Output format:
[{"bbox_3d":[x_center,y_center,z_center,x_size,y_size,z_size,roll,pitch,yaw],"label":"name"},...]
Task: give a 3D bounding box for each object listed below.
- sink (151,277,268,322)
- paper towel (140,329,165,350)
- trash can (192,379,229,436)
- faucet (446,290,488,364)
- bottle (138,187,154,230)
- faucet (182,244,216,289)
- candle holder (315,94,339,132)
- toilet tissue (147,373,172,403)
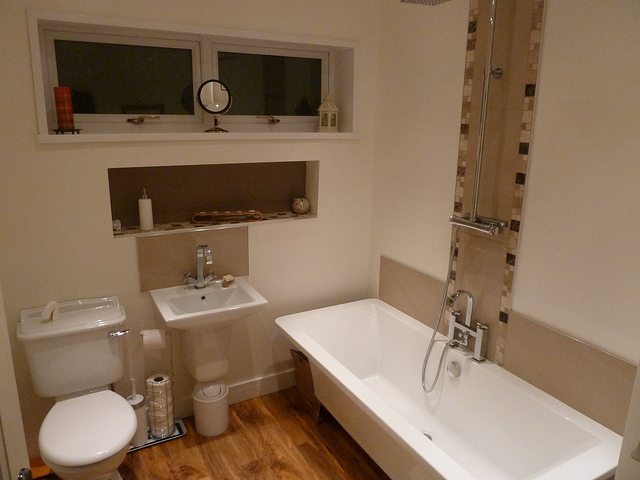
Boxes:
[{"bbox_3d":[-0.773,0.440,3.223,0.693,0.196,0.501,-11,19,-24],"label":"sink"},{"bbox_3d":[-1.147,0.666,3.173,0.177,0.133,0.116,-2,15,-16],"label":"paper towel"},{"bbox_3d":[-0.793,1.221,3.403,0.250,0.364,0.173,-9,18,-20],"label":"trash can"},{"bbox_3d":[0.931,0.551,3.073,0.218,0.456,0.330,-3,13,-27],"label":"faucet"},{"bbox_3d":[-1.255,-0.223,3.342,0.110,0.276,0.198,-10,18,-21],"label":"bottle"},{"bbox_3d":[-0.822,0.202,3.272,0.237,0.356,0.185,-9,25,-36],"label":"faucet"},{"bbox_3d":[0.055,-1.007,3.749,0.169,0.277,0.181,3,12,3],"label":"candle holder"},{"bbox_3d":[-1.126,1.060,3.307,0.160,0.160,0.160,5,-10,-37],"label":"toilet tissue"}]
